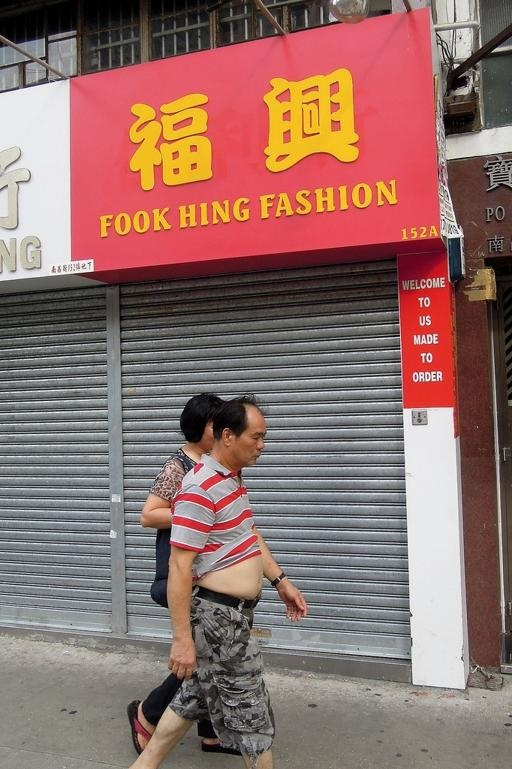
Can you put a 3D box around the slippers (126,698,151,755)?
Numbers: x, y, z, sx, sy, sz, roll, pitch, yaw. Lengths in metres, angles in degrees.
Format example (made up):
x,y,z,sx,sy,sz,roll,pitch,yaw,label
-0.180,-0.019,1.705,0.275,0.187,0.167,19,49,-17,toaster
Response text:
x,y,z,sx,sy,sz,roll,pitch,yaw,label
-0.620,1.755,4.269,0.078,0.276,0.109,-11,-11,6,slippers

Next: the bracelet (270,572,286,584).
x,y,z,sx,sy,sz,roll,pitch,yaw,label
0.092,0.927,3.929,0.054,0.015,0.050,-28,-17,-30,bracelet
